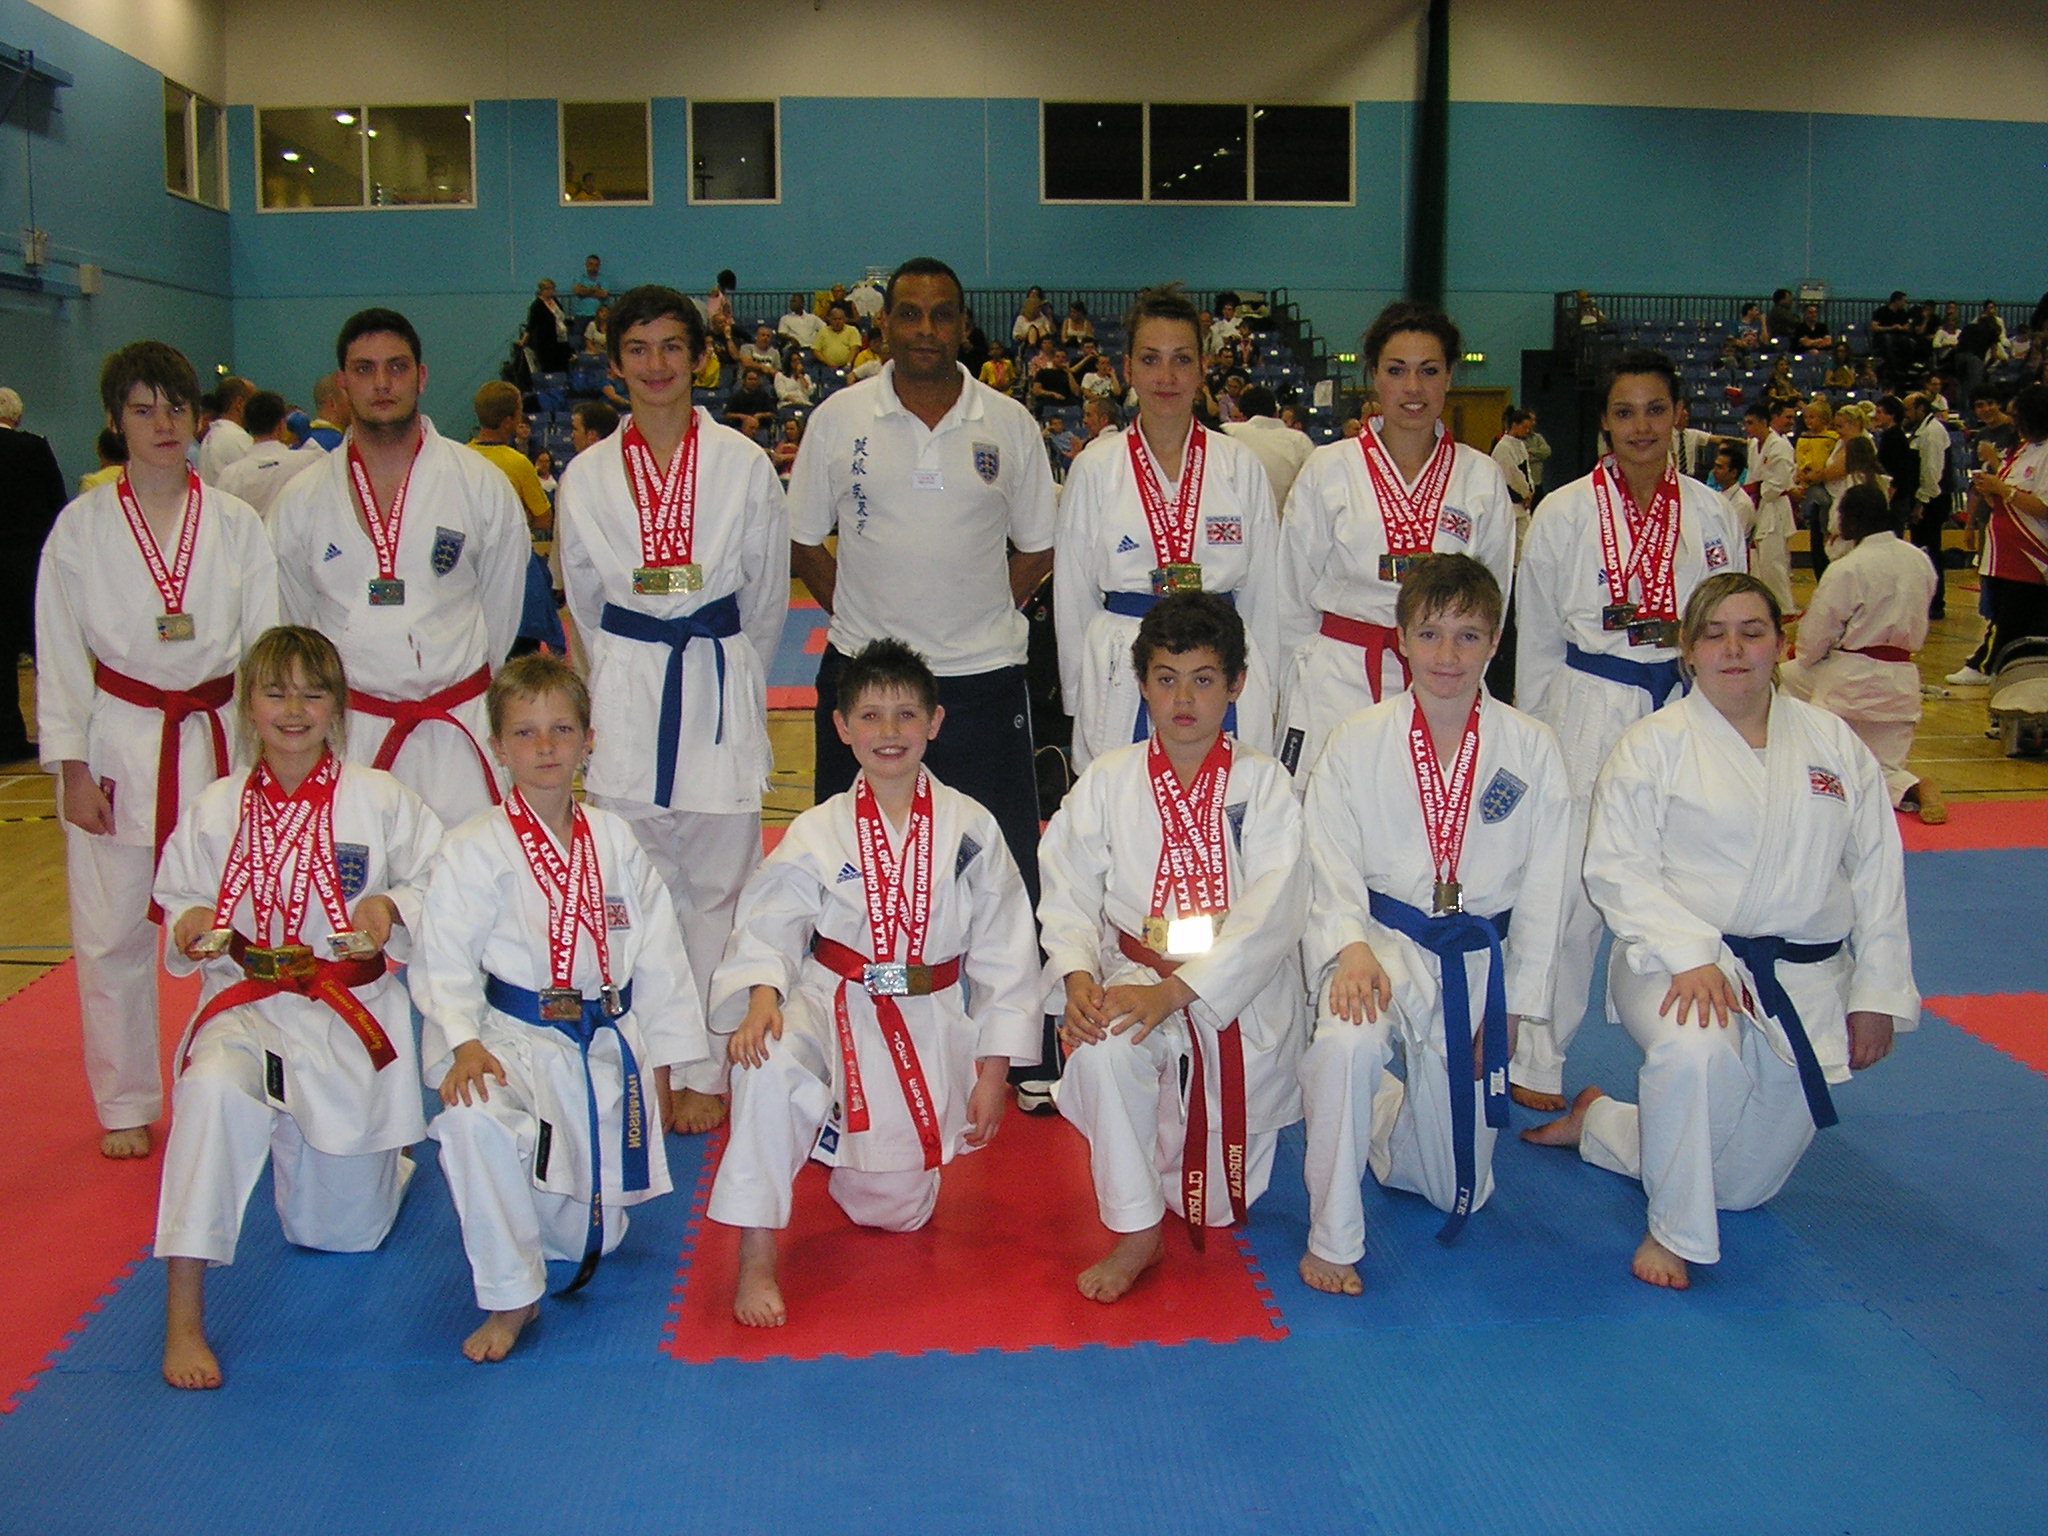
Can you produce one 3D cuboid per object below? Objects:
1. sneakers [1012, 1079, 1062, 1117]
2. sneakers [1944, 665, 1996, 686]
[{"bbox_3d":[0.027,1.050,5.822,0.157,0.067,0.172,7,13,4],"label":"sneakers"},{"bbox_3d":[6.408,-0.631,12.309,0.292,0.146,0.107,0,9,-3],"label":"sneakers"}]
